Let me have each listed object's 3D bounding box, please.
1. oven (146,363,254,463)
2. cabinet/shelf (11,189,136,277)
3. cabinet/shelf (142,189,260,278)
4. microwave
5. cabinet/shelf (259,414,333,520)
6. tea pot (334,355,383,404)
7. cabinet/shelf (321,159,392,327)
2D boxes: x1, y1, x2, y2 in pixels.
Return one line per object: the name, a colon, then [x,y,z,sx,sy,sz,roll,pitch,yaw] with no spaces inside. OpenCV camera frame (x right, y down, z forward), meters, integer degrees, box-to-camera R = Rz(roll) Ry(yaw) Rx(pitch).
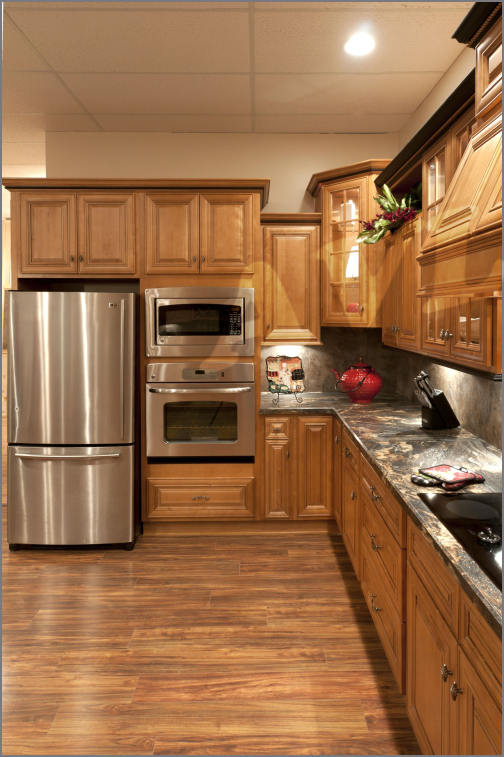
oven: [-0.302,0.163,3.705,0.734,0.677,0.500,0,0,-1]
cabinet/shelf: [-1.014,-0.823,3.557,0.690,0.535,0.250,-1,-2,-2]
cabinet/shelf: [-0.278,-0.849,3.603,0.687,0.498,0.342,1,4,5]
microwave: [-0.310,-0.323,3.423,0.669,0.461,0.368,0,0,0]
cabinet/shelf: [0.274,0.514,3.748,0.581,0.871,0.540,0,-1,0]
tea pot: [0.650,0.017,3.653,0.243,0.253,0.225,-1,6,0]
cabinet/shelf: [0.541,-0.721,3.539,0.313,0.847,0.215,-1,2,7]
